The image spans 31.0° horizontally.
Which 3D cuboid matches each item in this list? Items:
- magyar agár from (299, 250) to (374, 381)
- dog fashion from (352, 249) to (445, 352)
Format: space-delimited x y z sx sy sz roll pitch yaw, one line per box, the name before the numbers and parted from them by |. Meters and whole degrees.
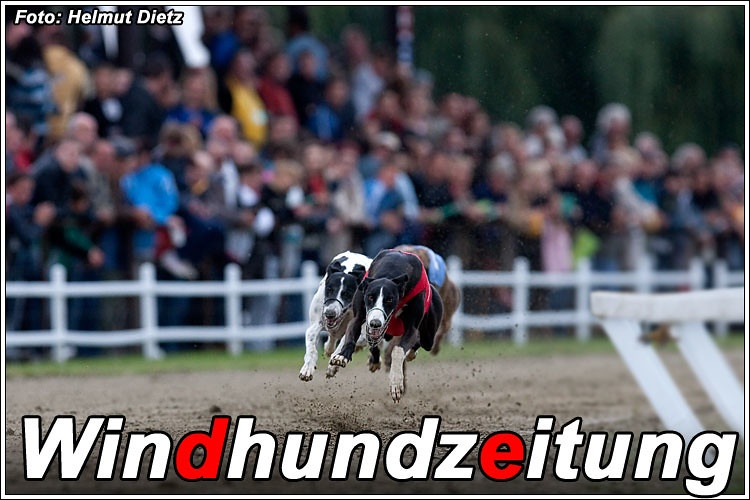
magyar agár | -0.345 0.440 12.644 0.413 0.876 1.629 11 15 5
dog fashion | 0.248 0.442 12.200 0.600 0.935 1.420 6 14 22
